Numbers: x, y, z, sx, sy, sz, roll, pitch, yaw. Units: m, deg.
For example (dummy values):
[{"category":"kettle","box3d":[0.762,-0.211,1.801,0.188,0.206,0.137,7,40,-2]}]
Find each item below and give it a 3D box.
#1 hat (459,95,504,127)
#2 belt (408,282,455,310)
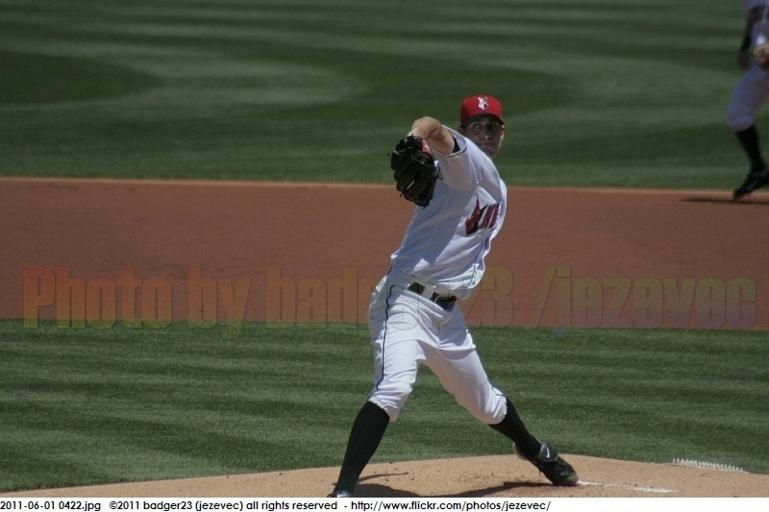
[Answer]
[{"category":"hat","box3d":[0.825,-1.268,14.988,0.276,0.332,0.339,2,-35,-2]},{"category":"belt","box3d":[0.377,0.378,14.726,0.334,0.113,0.246,26,11,3]}]
